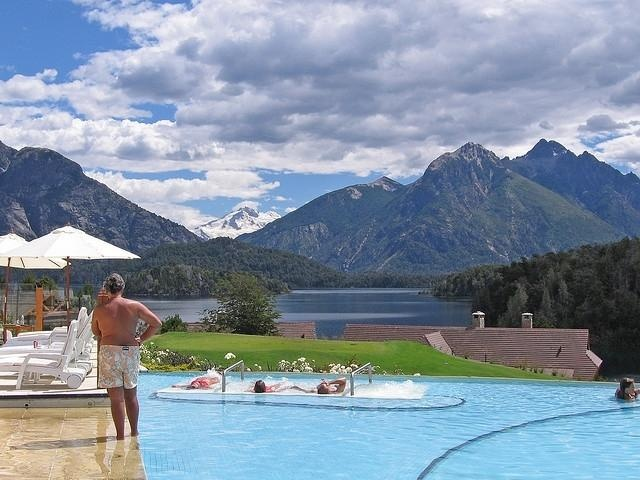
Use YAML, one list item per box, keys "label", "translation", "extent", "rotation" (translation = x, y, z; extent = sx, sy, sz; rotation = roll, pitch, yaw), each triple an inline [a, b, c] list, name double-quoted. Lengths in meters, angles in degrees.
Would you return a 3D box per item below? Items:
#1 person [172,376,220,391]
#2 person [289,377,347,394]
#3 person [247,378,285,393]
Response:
- label: "person"
  translation: [-4.906, 5.622, 27.834]
  extent: [1.787, 0.439, 1.137]
  rotation: [0, -6, -10]
- label: "person"
  translation: [0.049, 5.712, 27.384]
  extent: [1.688, 0.563, 0.750]
  rotation: [3, -5, 12]
- label: "person"
  translation: [-2.029, 5.735, 27.467]
  extent: [0.903, 0.517, 1.487]
  rotation: [4, -4, 4]
